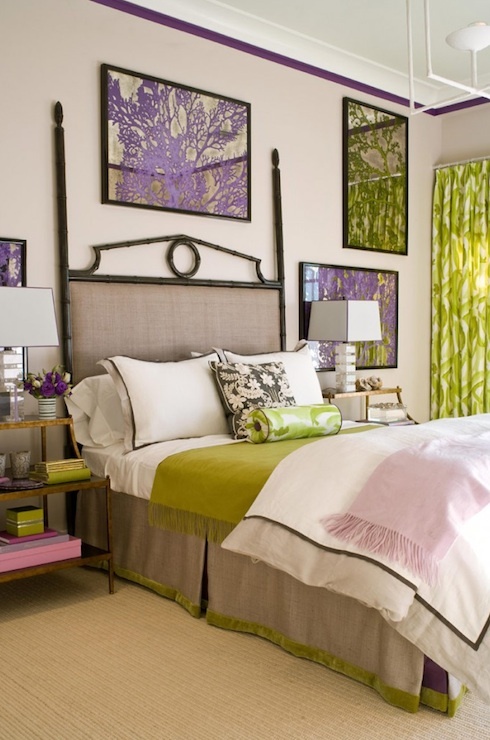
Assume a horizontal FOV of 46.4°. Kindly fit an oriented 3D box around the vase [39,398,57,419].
[{"bbox_3d":[-0.853,0.169,2.499,0.080,0.090,0.083,-1,-1,16],"label":"vase"}]

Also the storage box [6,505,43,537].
[{"bbox_3d":[-0.917,0.615,2.362,0.114,0.090,0.114,-2,-3,40],"label":"storage box"}]

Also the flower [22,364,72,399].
[{"bbox_3d":[-0.871,0.046,2.499,0.161,0.111,0.165,0,1,26],"label":"flower"}]

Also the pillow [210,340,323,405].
[{"bbox_3d":[0.192,0.073,3.371,0.129,0.360,0.450,-23,-14,34],"label":"pillow"}]

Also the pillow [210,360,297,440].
[{"bbox_3d":[0.020,0.104,2.849,0.402,0.391,0.123,-7,-15,-46],"label":"pillow"}]

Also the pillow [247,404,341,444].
[{"bbox_3d":[0.252,0.241,2.695,0.556,0.186,0.159,-3,-4,-44],"label":"pillow"}]

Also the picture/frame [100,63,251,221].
[{"bbox_3d":[-0.447,-1.344,3.366,1.105,0.832,0.044,-2,4,-43],"label":"picture/frame"}]

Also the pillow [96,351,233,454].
[{"bbox_3d":[-0.344,0.144,2.733,0.482,0.483,0.142,-6,-20,-38],"label":"pillow"}]

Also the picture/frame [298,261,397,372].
[{"bbox_3d":[0.855,-0.400,4.529,1.092,0.833,0.027,-1,-1,-35],"label":"picture/frame"}]

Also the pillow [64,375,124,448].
[{"bbox_3d":[-0.756,0.209,2.843,0.102,0.349,0.292,-9,-1,42],"label":"pillow"}]
